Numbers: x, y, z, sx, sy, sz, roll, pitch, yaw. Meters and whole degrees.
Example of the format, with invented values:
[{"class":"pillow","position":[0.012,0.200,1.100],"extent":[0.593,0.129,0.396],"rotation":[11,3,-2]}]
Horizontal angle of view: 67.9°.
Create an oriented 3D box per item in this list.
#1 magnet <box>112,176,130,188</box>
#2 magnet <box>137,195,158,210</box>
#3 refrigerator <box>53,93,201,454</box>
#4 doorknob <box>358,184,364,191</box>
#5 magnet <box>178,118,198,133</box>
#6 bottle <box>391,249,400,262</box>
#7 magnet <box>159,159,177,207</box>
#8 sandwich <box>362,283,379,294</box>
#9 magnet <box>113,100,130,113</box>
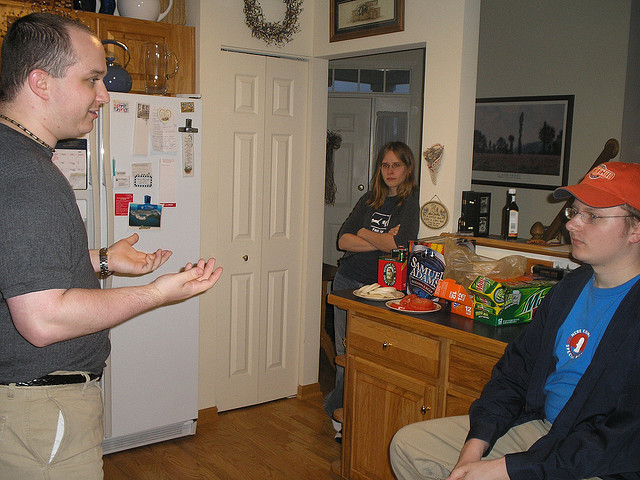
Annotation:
[{"class":"magnet","position":[-1.193,-0.359,2.827],"extent":[0.110,0.074,0.058],"rotation":[-4,17,-29]},{"class":"magnet","position":[-1.059,-0.232,2.907],"extent":[0.112,0.086,0.024],"rotation":[-3,14,-22]},{"class":"refrigerator","position":[-0.988,0.068,3.253],"extent":[0.859,1.969,0.730],"rotation":[2,2,5]},{"class":"doorknob","position":[0.481,-0.632,5.669],"extent":[0.069,0.071,0.017],"rotation":[1,4,12]},{"class":"magnet","position":[-0.832,-0.720,2.990],"extent":[0.085,0.059,0.087],"rotation":[4,9,19]},{"class":"bottle","position":[0.418,0.089,2.668],"extent":[0.011,0.048,0.046],"rotation":[1,1,-34]},{"class":"magnet","position":[-0.951,-0.355,2.959],"extent":[0.106,0.290,0.064],"rotation":[-2,13,-15]},{"class":"sandwich","position":[0.281,0.264,2.636],"extent":[0.034,0.029,0.145],"rotation":[4,28,40]},{"class":"magnet","position":[-1.180,-0.793,2.798],"extent":[0.084,0.062,0.011],"rotation":[-6,15,-40]}]
